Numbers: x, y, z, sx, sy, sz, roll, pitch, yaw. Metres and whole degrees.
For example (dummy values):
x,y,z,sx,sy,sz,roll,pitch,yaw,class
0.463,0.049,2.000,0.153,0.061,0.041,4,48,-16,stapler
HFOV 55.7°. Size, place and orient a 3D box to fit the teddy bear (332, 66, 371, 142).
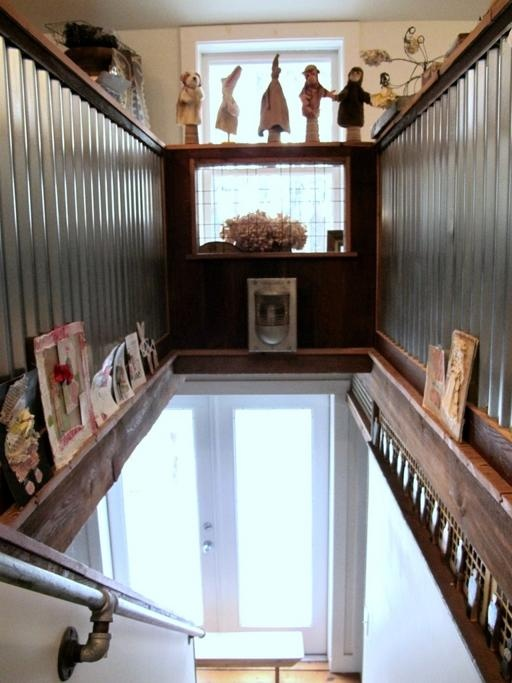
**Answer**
x,y,z,sx,sy,sz,roll,pitch,yaw,class
0.543,-1.352,2.698,0.170,0.156,0.393,14,-44,21,teddy bear
